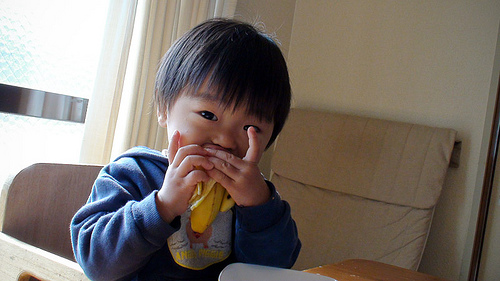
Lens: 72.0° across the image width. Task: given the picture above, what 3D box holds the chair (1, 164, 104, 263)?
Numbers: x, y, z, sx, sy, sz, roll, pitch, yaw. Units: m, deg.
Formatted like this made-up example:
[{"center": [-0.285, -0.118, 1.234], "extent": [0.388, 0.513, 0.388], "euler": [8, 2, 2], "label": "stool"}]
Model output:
[{"center": [-0.912, 0.340, 1.562], "extent": [0.234, 0.301, 0.449], "euler": [17, -3, -12], "label": "chair"}]

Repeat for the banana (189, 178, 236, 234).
[{"center": [-0.161, 0.273, 1.457], "extent": [0.194, 0.236, 0.054], "euler": [6, 9, -9], "label": "banana"}]
